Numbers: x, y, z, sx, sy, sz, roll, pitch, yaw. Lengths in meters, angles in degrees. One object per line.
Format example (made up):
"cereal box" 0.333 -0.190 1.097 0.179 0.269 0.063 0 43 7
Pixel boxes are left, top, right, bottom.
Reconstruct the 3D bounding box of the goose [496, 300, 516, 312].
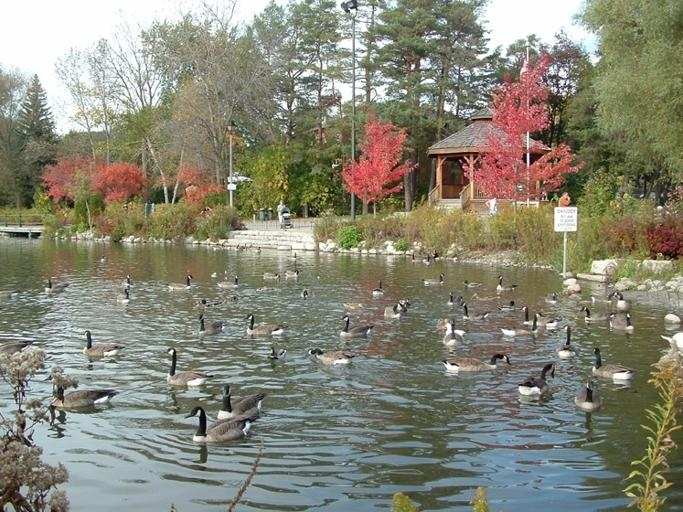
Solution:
"goose" 5.317 1.654 27.214 0.564 0.447 0.318 4 12 20

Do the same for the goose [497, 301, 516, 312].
"goose" 5.317 1.660 27.201 0.538 0.425 0.312 6 12 19

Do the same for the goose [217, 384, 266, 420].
"goose" -2.101 3.268 18.785 1.030 0.730 0.587 -7 -7 -39

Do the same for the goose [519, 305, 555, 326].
"goose" 5.834 1.873 24.992 0.997 0.651 0.378 2 -7 25

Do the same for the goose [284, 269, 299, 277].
"goose" -1.959 0.747 34.690 0.254 0.382 0.613 1 4 -34

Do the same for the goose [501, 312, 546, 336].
"goose" 5.226 1.965 24.183 1.490 0.480 0.723 -8 12 -39

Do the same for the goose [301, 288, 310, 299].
"goose" -1.254 1.349 30.036 0.206 0.281 0.668 0 -6 -4

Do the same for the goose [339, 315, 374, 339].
"goose" 0.434 2.120 24.296 0.907 0.616 0.512 2 -5 -18

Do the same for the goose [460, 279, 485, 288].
"goose" 4.836 1.047 31.358 0.759 0.470 0.278 4 -5 30

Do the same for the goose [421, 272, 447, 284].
"goose" 3.531 0.879 32.321 0.717 0.512 0.408 3 4 5

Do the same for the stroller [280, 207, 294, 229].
"stroller" -3.574 -2.479 55.999 0.880 1.316 2.121 -1 9 -4

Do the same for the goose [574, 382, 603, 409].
"goose" 5.564 3.115 19.054 0.614 0.540 0.597 1 9 6

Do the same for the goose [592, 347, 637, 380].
"goose" 6.583 2.689 20.724 0.504 0.919 1.340 15 -13 -35

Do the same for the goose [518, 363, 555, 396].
"goose" 4.571 2.943 19.808 1.355 0.870 0.434 10 -10 -43
